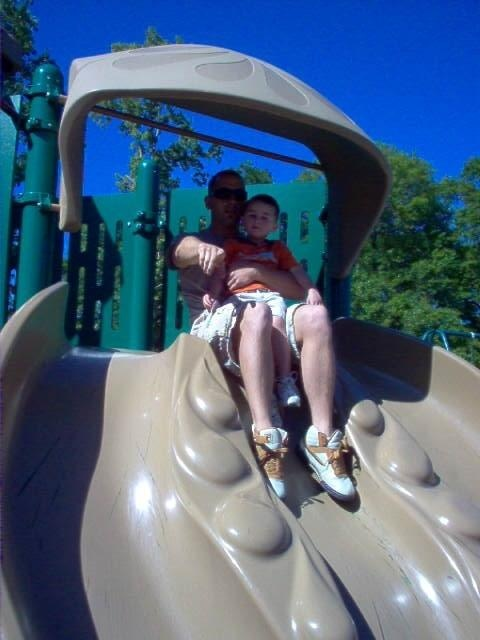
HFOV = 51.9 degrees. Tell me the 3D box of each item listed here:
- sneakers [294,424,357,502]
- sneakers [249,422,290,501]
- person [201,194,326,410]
[{"bbox_3d":[0.271,0.423,1.492,0.096,0.148,0.282,8,19,-25],"label":"sneakers"},{"bbox_3d":[0.098,0.404,1.442,0.068,0.210,0.092,6,-38,-37],"label":"sneakers"},{"bbox_3d":[0.090,-0.101,2.061,0.491,1.104,0.566,2,-9,-21],"label":"person"}]
